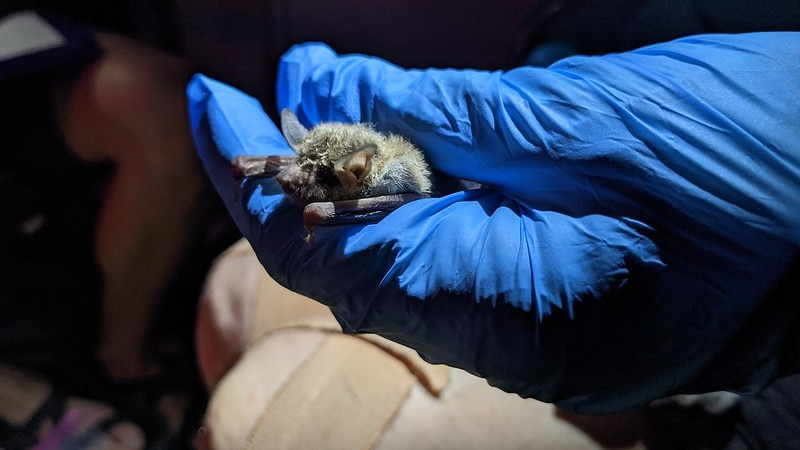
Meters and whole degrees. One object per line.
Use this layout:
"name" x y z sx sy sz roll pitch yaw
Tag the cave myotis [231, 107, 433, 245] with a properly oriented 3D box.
"cave myotis" -0.319 -0.259 3.250 0.872 0.341 0.581 -15 33 -38
